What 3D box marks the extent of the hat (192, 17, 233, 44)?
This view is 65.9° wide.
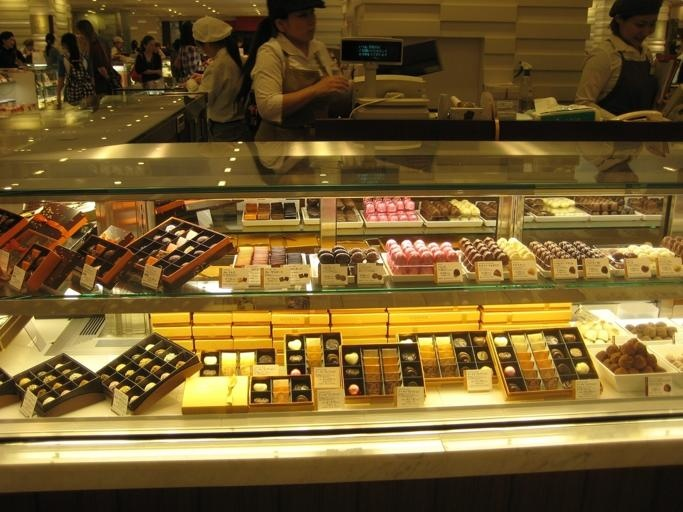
[{"bbox_3d":[-1.170,-2.024,4.728,0.327,0.221,0.253,-6,27,-10],"label":"hat"}]

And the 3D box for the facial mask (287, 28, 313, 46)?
[{"bbox_3d":[-0.249,-1.313,3.182,0.124,0.049,0.078,5,34,12],"label":"facial mask"}]
